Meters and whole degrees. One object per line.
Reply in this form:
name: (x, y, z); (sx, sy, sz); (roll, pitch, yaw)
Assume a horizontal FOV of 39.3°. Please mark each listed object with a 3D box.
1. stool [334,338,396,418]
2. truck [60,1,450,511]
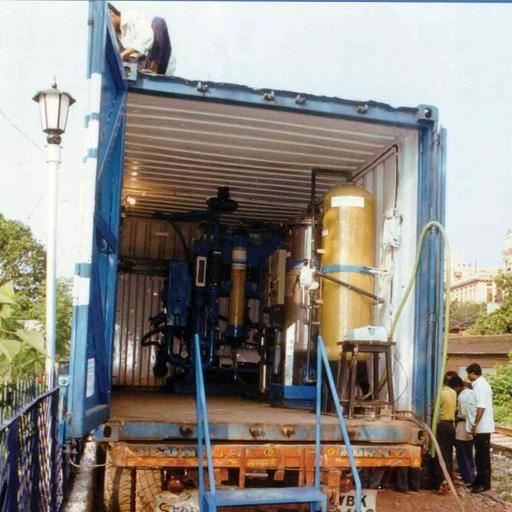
stool: (1.042, 1.185, 6.947); (0.449, 0.732, 0.478); (3, -6, -11)
truck: (0.112, 0.450, 8.117); (3.053, 4.046, 5.787); (2, -18, -1)
